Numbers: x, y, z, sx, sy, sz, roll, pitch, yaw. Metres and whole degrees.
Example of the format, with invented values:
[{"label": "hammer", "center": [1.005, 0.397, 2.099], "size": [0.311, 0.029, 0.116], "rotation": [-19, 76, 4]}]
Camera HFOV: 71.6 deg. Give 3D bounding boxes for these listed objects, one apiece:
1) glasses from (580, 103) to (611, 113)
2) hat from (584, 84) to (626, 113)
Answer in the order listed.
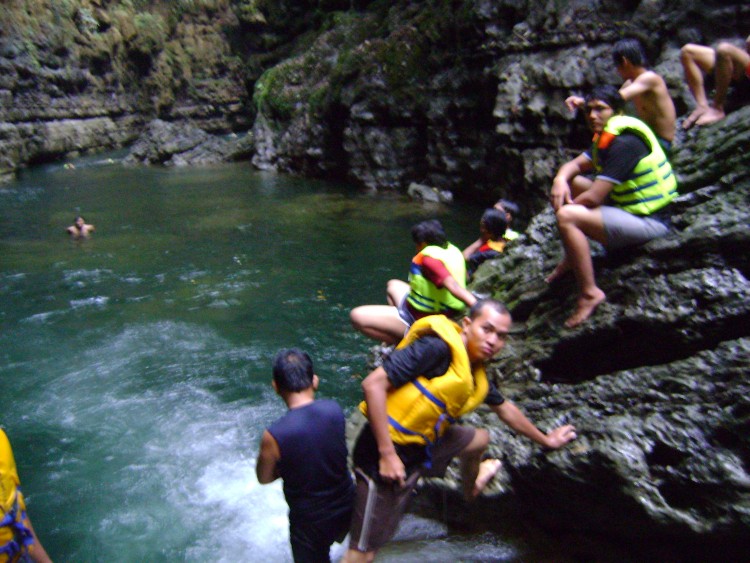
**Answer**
[{"label": "glasses", "center": [2.200, -1.715, 5.121], "size": [0.135, 0.060, 0.161], "rotation": [15, 15, -48]}, {"label": "hat", "center": [2.269, -1.810, 5.159], "size": [0.224, 0.285, 0.309], "rotation": [2, 20, -39]}]
